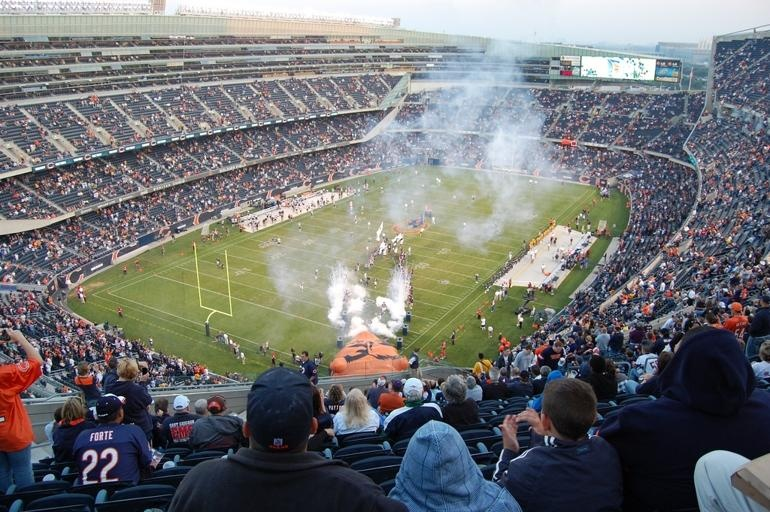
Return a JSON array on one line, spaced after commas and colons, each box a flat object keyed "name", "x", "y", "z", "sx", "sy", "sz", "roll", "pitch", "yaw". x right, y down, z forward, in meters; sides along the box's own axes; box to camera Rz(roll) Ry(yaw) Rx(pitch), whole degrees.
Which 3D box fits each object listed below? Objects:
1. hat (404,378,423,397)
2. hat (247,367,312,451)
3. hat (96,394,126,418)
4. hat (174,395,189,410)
[{"name": "hat", "x": 0.474, "y": 2.183, "z": 10.646, "sx": 0.502, "sy": 0.307, "sz": 0.649, "roll": 3, "pitch": -10, "yaw": 1}, {"name": "hat", "x": -1.056, "y": 1.581, "z": 6.440, "sx": 0.665, "sy": 0.806, "sz": 0.505, "roll": 3, "pitch": -21, "yaw": -6}, {"name": "hat", "x": -4.129, "y": 2.206, "z": 9.528, "sx": 0.339, "sy": 0.232, "sz": 0.448, "roll": -5, "pitch": 24, "yaw": -1}, {"name": "hat", "x": -3.749, "y": 2.676, "z": 11.630, "sx": 0.238, "sy": 0.292, "sz": 0.325, "roll": -1, "pitch": 6, "yaw": -21}]
